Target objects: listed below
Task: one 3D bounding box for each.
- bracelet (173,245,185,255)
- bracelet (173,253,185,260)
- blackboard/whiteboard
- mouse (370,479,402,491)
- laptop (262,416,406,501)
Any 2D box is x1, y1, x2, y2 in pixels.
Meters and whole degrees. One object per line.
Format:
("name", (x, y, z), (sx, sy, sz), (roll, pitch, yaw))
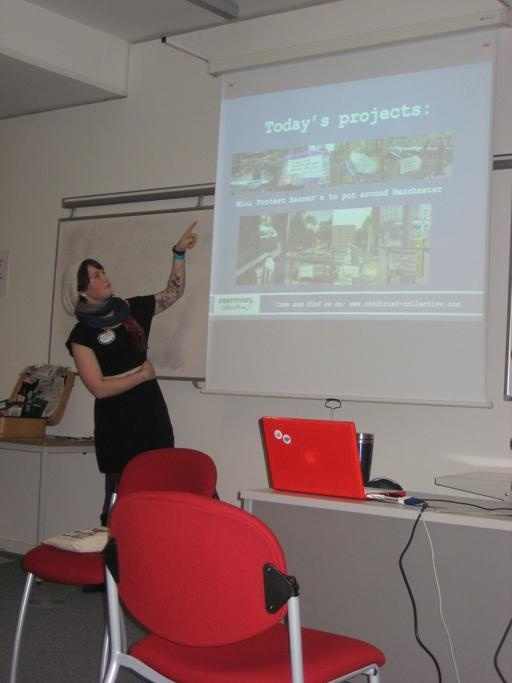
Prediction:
("bracelet", (-0.468, -0.544, 3.262), (0.049, 0.030, 0.064), (6, 9, -21))
("bracelet", (-0.458, -0.498, 3.245), (0.051, 0.043, 0.042), (-3, -1, 40))
("blackboard/whiteboard", (-0.686, -0.279, 3.192), (1.169, 1.122, 0.089), (-3, -12, 22))
("mouse", (0.452, 0.502, 1.942), (0.075, 0.020, 0.068), (2, -4, 0))
("laptop", (0.232, 0.272, 1.714), (0.391, 0.261, 0.274), (0, 11, 39))
